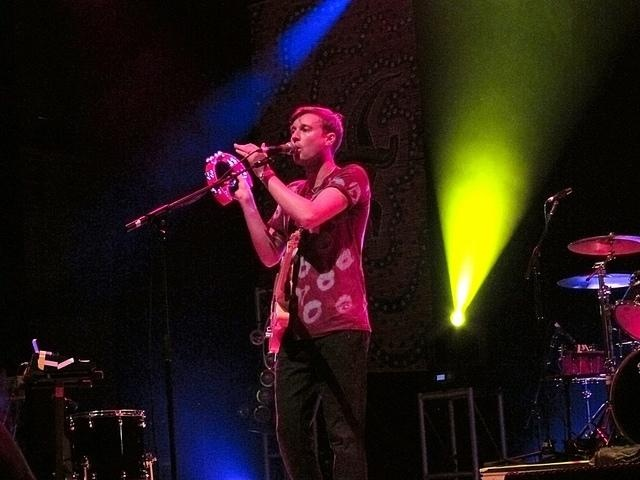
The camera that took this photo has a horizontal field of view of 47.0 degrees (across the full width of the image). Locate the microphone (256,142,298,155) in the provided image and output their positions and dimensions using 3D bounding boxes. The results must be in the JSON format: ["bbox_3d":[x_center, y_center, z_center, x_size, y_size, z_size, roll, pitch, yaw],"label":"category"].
[{"bbox_3d":[-0.259,-0.523,4.252,0.242,0.076,0.079,-3,9,26],"label":"microphone"}]

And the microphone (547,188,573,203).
[{"bbox_3d":[2.093,-0.390,6.437,0.154,0.042,0.153,-16,8,46],"label":"microphone"}]

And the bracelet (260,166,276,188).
[{"bbox_3d":[-0.300,-0.358,4.256,0.083,0.110,0.083,3,5,-3],"label":"bracelet"}]

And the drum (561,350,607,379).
[{"bbox_3d":[2.245,1.072,6.323,0.268,0.165,0.266,0,-19,0],"label":"drum"}]
